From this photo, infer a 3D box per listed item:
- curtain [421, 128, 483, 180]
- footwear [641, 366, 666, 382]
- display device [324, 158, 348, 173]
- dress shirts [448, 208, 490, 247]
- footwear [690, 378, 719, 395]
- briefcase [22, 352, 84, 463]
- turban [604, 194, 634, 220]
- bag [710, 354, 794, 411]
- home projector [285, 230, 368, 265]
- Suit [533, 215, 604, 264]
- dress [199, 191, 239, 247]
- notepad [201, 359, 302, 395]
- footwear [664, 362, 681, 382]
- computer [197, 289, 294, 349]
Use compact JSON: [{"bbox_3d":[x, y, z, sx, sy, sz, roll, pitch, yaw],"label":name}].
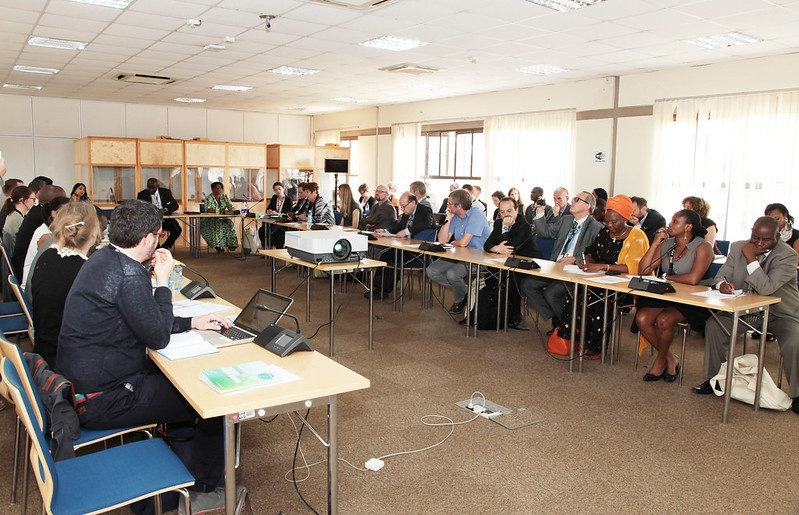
[{"bbox_3d":[1.231,-2.499,12.506,0.135,1.118,1.821,-16,18,-35],"label":"curtain"},{"bbox_3d":[2.526,1.172,5.121,0.293,0.113,0.098,6,-9,-38],"label":"footwear"},{"bbox_3d":[-1.664,-2.405,13.476,0.671,0.410,0.353,0,8,-8],"label":"display device"},{"bbox_3d":[0.929,-0.427,7.193,0.361,0.409,0.488,-4,5,-24],"label":"dress shirts"},{"bbox_3d":[2.893,1.230,4.866,0.276,0.103,0.092,2,-4,0],"label":"footwear"},{"bbox_3d":[-1.909,0.818,2.836,0.189,0.364,0.593,-17,50,-39],"label":"briefcase"},{"bbox_3d":[2.344,-0.540,5.548,0.288,0.228,0.226,30,12,12],"label":"turban"},{"bbox_3d":[3.168,1.153,4.633,0.548,0.194,0.537,14,10,27],"label":"bag"},{"bbox_3d":[-0.831,-0.139,5.658,0.643,0.281,0.808,-5,9,-32],"label":"home projector"},{"bbox_3d":[2.063,-0.213,6.328,0.681,0.516,0.996,0,-23,8],"label":"Suit"},{"bbox_3d":[-3.998,-0.942,11.412,0.566,1.422,0.811,-9,21,-37],"label":"dress"},{"bbox_3d":[-0.868,0.687,2.966,0.528,0.061,0.297,-4,10,-22],"label":"notepad"},{"bbox_3d":[2.723,1.163,5.143,0.102,0.106,0.302,-5,-4,37],"label":"footwear"},{"bbox_3d":[-1.092,0.403,3.511,0.524,0.296,0.474,9,13,44],"label":"computer"}]
